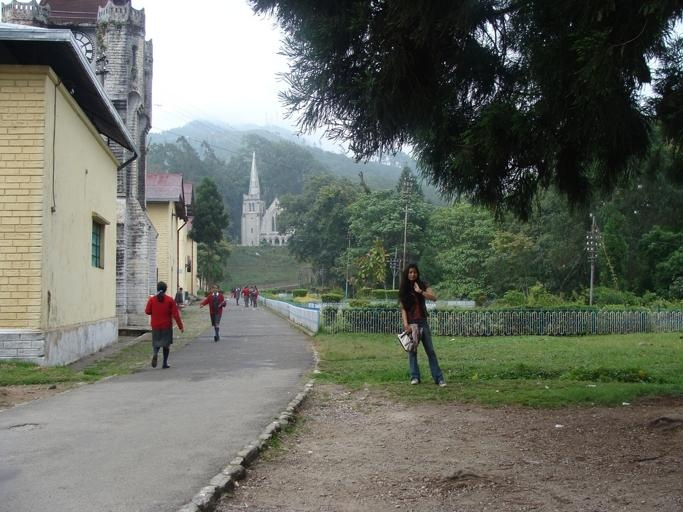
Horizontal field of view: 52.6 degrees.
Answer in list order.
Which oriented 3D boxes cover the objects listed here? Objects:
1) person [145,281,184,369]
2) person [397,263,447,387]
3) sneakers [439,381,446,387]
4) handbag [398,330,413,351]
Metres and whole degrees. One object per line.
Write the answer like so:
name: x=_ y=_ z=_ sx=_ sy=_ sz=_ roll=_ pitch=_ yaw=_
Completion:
person: x=-3.901 y=1.537 z=15.210 sx=0.728 sy=1.882 sz=0.696 roll=-4 pitch=-3 yaw=-3
person: x=1.437 y=1.230 z=12.618 sx=0.685 sy=1.600 sz=1.882 roll=-4 pitch=-3 yaw=6
sneakers: x=1.741 y=2.225 z=11.958 sx=0.142 sy=0.077 sz=0.176 roll=-5 pitch=-3 yaw=3
handbag: x=1.115 y=1.454 z=12.055 sx=0.121 sy=0.368 sz=0.263 roll=-11 pitch=-20 yaw=3
